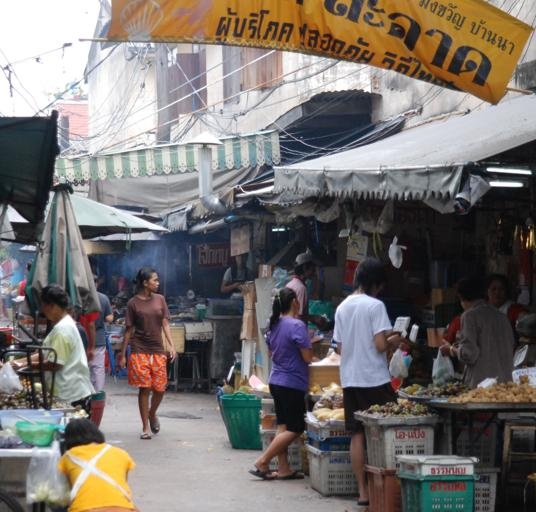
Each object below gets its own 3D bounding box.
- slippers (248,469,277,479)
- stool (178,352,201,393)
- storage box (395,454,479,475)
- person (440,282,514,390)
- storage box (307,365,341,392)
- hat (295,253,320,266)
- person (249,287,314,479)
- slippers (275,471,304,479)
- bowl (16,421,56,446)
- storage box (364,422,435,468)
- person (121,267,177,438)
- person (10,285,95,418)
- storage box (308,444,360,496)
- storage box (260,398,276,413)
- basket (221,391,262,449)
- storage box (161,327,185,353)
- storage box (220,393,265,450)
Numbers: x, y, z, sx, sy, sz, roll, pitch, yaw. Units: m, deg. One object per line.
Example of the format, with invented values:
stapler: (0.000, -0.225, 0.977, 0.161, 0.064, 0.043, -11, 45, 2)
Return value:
slippers: (-0.050, 2.044, 9.796, 0.249, 0.104, 0.100, 17, -3, -21)
stool: (-1.305, 1.934, 17.450, 0.387, 0.642, 0.855, 1, -4, -5)
storage box: (1.273, 1.595, 7.945, 0.594, 0.146, 0.248, 0, -4, 8)
person: (1.808, 0.663, 9.042, 0.581, 0.955, 0.438, 0, -3, 14)
storage box: (0.559, 1.202, 10.474, 0.347, 0.300, 0.210, -1, 7, 1)
hat: (0.475, 0.050, 12.608, 0.220, 0.140, 0.152, 0, 3, -9)
person: (0.148, 1.205, 9.828, 0.563, 1.792, 0.403, 0, -3, 20)
slippers: (0.215, 2.078, 9.881, 0.228, 0.099, 0.098, 0, -3, -14)
bowl: (-1.616, 1.254, 7.368, 0.228, 0.158, 0.101, -3, -29, -31)
storage box: (1.079, 1.551, 8.554, 0.413, 0.308, 0.346, 2, -6, -10)
person: (-1.394, 1.115, 12.008, 0.501, 1.958, 0.829, 0, -3, 13)
person: (-1.757, 0.811, 9.034, 0.538, 1.104, 0.900, 1, -4, -11)
storage box: (0.568, 1.935, 9.406, 0.291, 0.314, 0.447, 1, -7, -12)
storage box: (-0.005, 1.512, 10.540, 0.111, 0.099, 0.119, 3, -7, 0)
basket: (-0.276, 1.780, 11.502, 0.523, 0.692, 0.513, 1, -5, -6)
storage box: (-1.519, 1.292, 17.026, 0.486, 0.583, 0.370, 0, -3, -8)
storage box: (-0.269, 1.789, 11.537, 0.527, 0.681, 0.522, 0, -5, -6)
